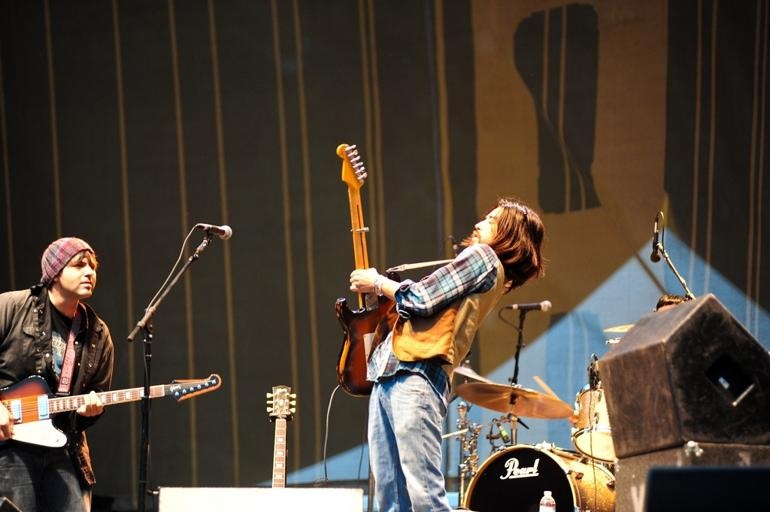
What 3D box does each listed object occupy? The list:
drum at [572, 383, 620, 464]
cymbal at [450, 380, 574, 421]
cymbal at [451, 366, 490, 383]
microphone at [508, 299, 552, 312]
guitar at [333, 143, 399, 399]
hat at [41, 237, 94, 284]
[{"bbox_3d":[1.823,1.506,12.735,0.420,0.748,0.429,0,3,0],"label":"drum"},{"bbox_3d":[1.113,1.284,12.763,0.540,0.141,0.550,-7,-23,44],"label":"cymbal"},{"bbox_3d":[0.773,1.080,13.118,0.232,0.056,0.239,25,-31,-11],"label":"cymbal"},{"bbox_3d":[1.349,0.470,13.442,0.310,0.089,0.089,-4,8,14],"label":"microphone"},{"bbox_3d":[-0.142,0.158,11.667,0.488,2.096,0.535,0,8,0],"label":"guitar"},{"bbox_3d":[-2.697,0.084,12.184,0.354,0.374,0.460,-31,-30,25],"label":"hat"}]
